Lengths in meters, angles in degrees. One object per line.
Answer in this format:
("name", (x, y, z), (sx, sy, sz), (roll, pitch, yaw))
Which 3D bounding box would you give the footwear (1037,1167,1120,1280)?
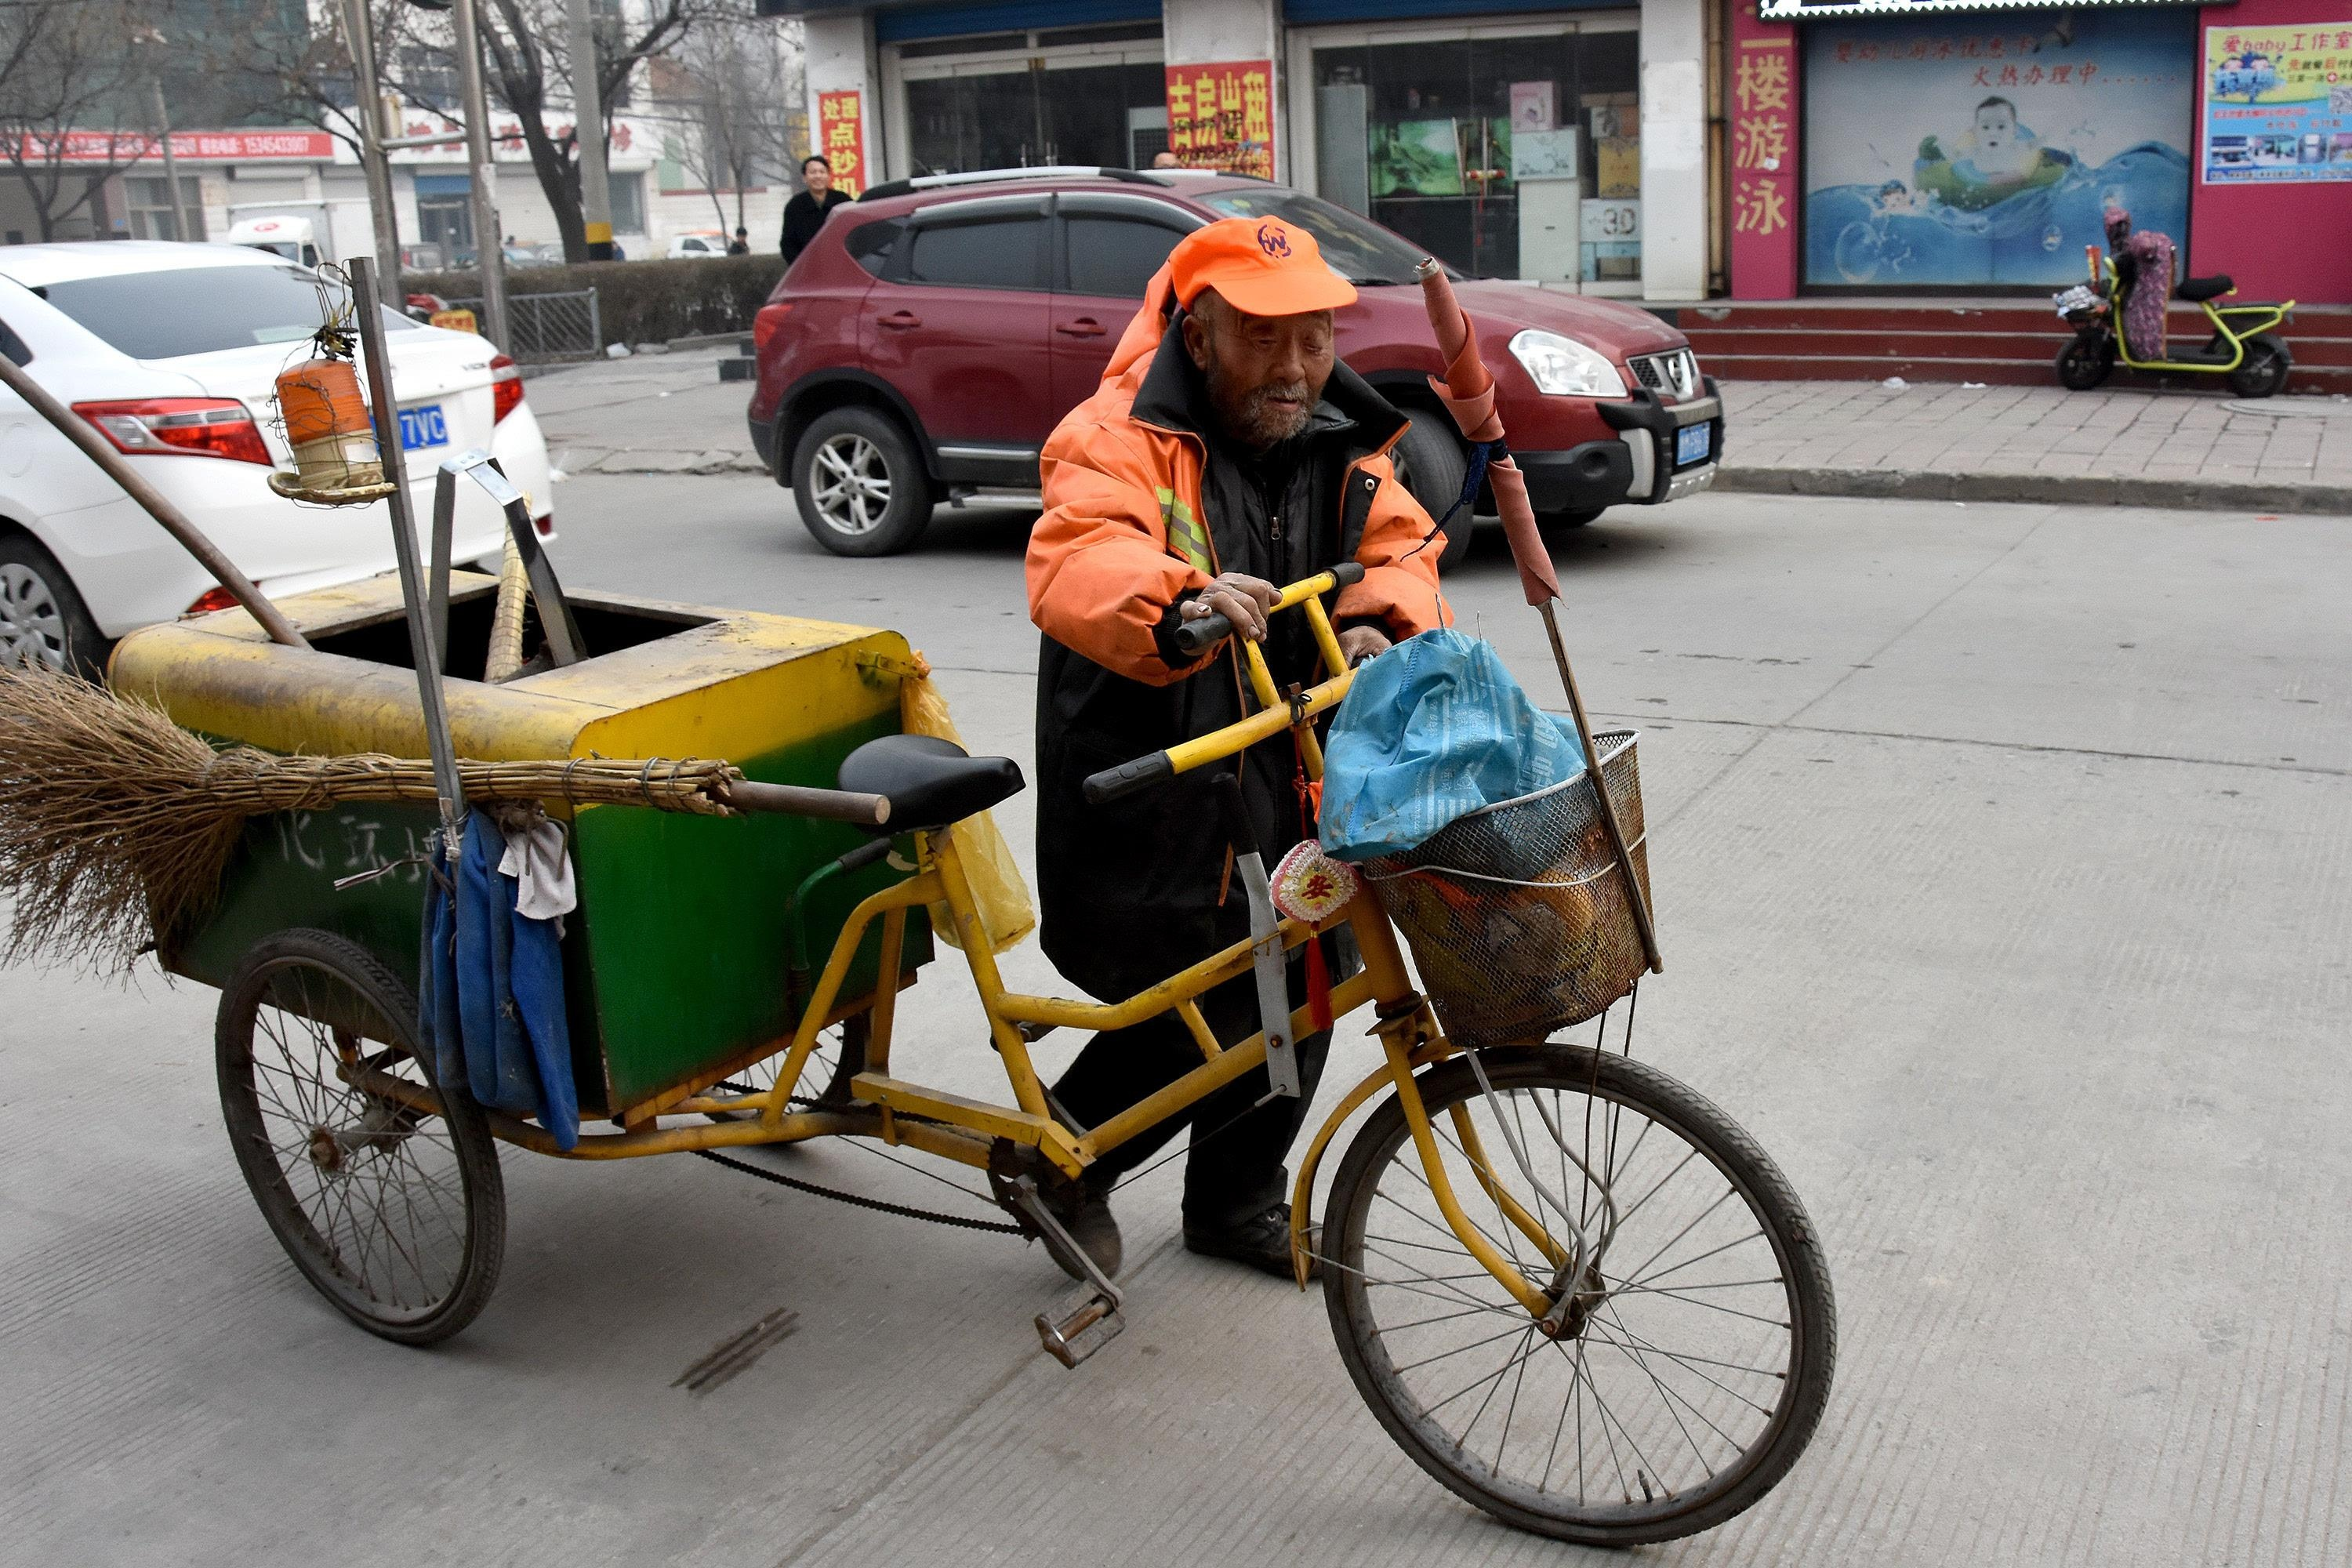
("footwear", (-0.180, 0.917, 3.725), (0.063, 0.240, 0.234), (-18, 16, -16))

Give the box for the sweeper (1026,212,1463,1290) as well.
("sweeper", (0.062, 0.030, 3.647), (1.025, 2.173, 1.055), (17, 28, 40))

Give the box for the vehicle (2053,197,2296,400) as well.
("vehicle", (7.485, -3.623, 13.392), (1.540, 1.329, 0.542), (8, 23, 28))

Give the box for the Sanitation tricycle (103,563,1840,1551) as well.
("Sanitation tricycle", (-0.438, 0.511, 4.077), (3.652, 1.802, 1.655), (7, 23, 22))

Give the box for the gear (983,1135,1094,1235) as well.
("gear", (-0.269, 0.811, 3.571), (0.199, 0.200, 0.061), (-33, 7, 41))

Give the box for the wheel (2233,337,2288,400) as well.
("wheel", (8.035, -3.102, 13.187), (0.413, 0.431, 0.354), (4, 21, 18))

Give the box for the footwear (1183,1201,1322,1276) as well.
("footwear", (0.174, 1.020, 4.003), (0.298, 0.127, 0.143), (-1, 9, 16))

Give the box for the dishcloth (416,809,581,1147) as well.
("dishcloth", (-1.285, 0.354, 3.433), (0.405, 0.732, 0.189), (23, 33, 23))

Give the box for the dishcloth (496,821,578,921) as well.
("dishcloth", (-1.192, 0.162, 3.360), (0.137, 0.188, 0.080), (3, 1, 0))
